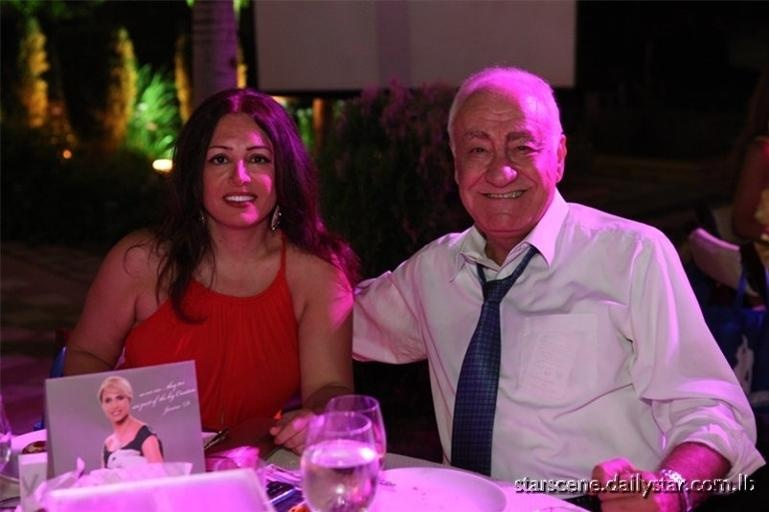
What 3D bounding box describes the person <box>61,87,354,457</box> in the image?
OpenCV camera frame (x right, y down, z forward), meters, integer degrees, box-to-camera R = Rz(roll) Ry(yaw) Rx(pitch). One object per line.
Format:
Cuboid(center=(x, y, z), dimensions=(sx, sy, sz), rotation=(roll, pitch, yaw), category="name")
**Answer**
Cuboid(center=(-0.694, 0.003, 2.997), dimensions=(1.129, 1.376, 0.564), rotation=(0, 16, -2), category="person")
